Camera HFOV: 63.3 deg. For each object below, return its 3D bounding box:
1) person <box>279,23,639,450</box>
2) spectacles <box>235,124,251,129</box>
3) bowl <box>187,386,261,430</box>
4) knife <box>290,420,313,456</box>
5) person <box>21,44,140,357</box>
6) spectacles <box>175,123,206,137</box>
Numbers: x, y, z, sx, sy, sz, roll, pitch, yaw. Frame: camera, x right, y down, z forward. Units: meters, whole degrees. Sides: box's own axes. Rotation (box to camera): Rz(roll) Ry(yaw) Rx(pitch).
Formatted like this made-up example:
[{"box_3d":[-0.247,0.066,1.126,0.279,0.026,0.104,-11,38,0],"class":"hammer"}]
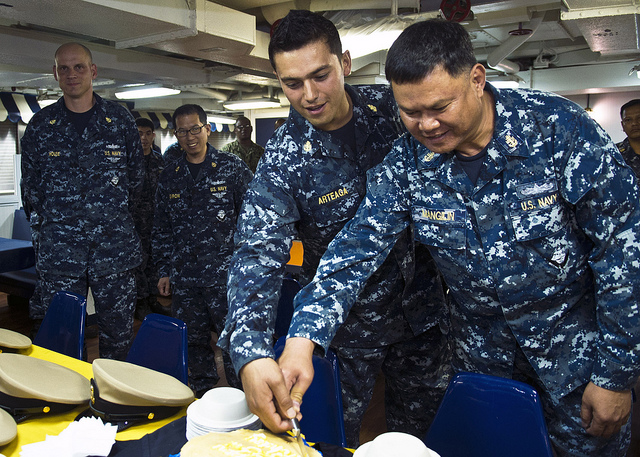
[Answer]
[{"box_3d":[0.616,0.159,2.086,1.214,1.458,0.449,-1,3,0],"class":"person"},{"box_3d":[-1.143,-1.551,7.891,0.235,0.078,0.106,-3,3,-41],"class":"spectacles"},{"box_3d":[-0.336,0.623,1.827,0.253,0.051,0.238,6,8,-1],"class":"bowl"},{"box_3d":[-0.071,0.670,1.702,0.037,0.028,0.196,12,17,-23],"class":"knife"},{"box_3d":[-1.781,-0.172,3.912,0.774,2.286,0.322,-3,3,-26],"class":"person"},{"box_3d":[-1.051,-0.773,4.157,0.201,0.076,0.058,-1,3,-7],"class":"spectacles"}]
